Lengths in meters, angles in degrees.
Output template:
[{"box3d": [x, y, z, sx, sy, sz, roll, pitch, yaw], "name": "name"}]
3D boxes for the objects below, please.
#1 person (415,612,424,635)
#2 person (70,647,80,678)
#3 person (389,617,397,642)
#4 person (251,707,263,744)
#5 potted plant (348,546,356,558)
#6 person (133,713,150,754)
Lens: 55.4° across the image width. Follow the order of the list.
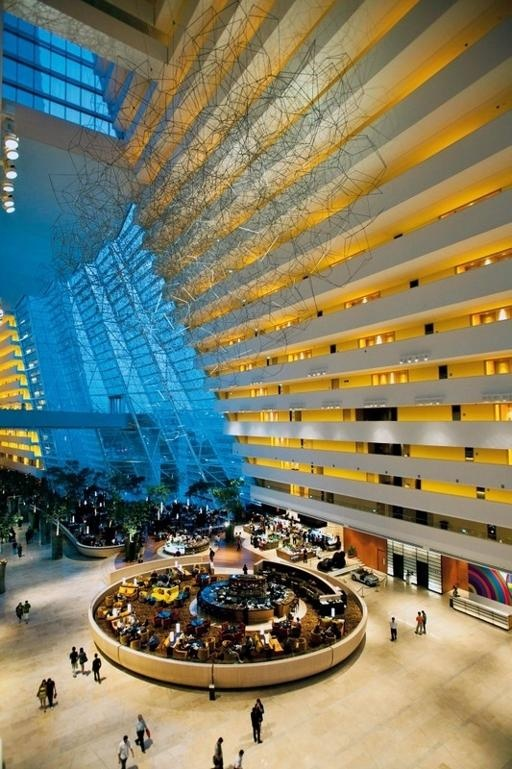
[{"box3d": [5.157, 7.584, 15.687, 0.274, 0.768, 0.593, -3, -1, 17], "name": "person"}, {"box3d": [-5.139, 7.835, 13.881, 0.227, 0.626, 0.707, -3, -1, -22], "name": "person"}, {"box3d": [4.240, 7.612, 15.301, 0.231, 0.759, 0.787, -3, -1, 15], "name": "person"}, {"box3d": [-0.009, 7.346, 10.655, 0.202, 0.742, 0.483, -3, -1, -3], "name": "person"}, {"box3d": [4.392, 7.887, 22.913, 0.244, 0.518, 0.535, -3, -1, -28], "name": "potted plant"}, {"box3d": [-2.488, 7.504, 10.648, 0.307, 0.647, 0.802, -3, -1, -14], "name": "person"}]
